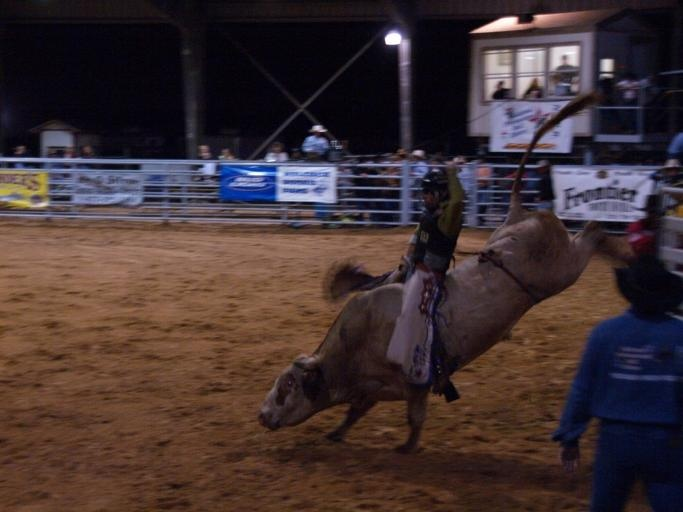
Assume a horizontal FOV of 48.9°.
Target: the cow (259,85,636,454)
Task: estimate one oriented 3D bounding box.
[{"bbox_3d":[0.795,0.190,6.301,2.678,3.043,1.105,3,14,13],"label":"cow"}]
